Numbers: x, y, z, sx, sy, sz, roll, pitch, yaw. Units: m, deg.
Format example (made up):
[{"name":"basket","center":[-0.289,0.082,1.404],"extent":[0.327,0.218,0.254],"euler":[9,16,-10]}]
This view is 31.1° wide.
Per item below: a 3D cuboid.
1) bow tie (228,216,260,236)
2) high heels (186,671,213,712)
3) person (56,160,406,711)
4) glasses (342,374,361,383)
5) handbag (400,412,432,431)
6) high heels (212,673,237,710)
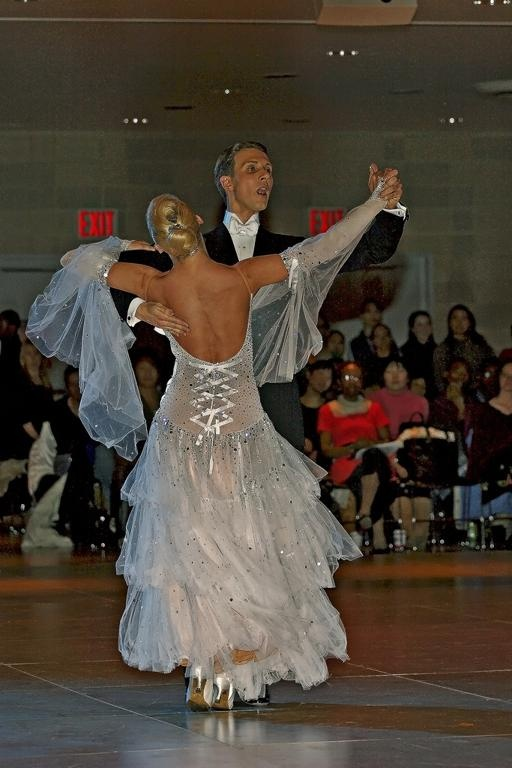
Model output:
[{"name":"bow tie","center":[-0.038,-0.506,2.971],"extent":[0.105,0.063,0.038],"euler":[0,4,-7]},{"name":"high heels","center":[-0.127,0.817,2.441],"extent":[0.064,0.086,0.094],"euler":[4,1,-2]},{"name":"person","center":[-0.029,0.099,2.708],"extent":[0.583,1.329,0.687],"euler":[-2,-1,44]},{"name":"glasses","center":[0.718,-0.042,6.897],"extent":[0.084,0.037,0.103],"euler":[1,11,-3]},{"name":"handbag","center":[1.197,0.284,6.953],"extent":[0.164,0.129,0.060],"euler":[1,1,-3]},{"name":"high heels","center":[-0.073,0.816,2.483],"extent":[0.050,0.081,0.131],"euler":[-1,-1,13]}]
